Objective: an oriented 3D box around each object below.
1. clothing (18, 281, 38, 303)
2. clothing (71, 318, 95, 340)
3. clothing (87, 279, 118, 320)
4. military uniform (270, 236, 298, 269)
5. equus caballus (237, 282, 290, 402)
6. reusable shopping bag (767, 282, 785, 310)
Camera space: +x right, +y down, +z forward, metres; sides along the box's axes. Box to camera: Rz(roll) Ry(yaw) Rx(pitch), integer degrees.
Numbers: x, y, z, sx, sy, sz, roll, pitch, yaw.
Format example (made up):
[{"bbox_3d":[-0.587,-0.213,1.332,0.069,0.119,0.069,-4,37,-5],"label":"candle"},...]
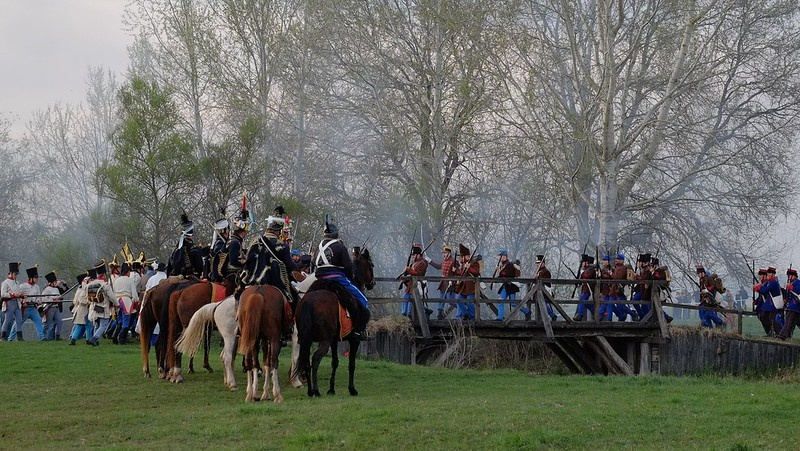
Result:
[{"bbox_3d":[-16.929,3.108,45.662,0.537,0.898,0.943,-6,-7,34],"label":"clothing"},{"bbox_3d":[-14.136,4.655,44.821,1.153,0.833,2.453,9,4,-17],"label":"clothing"},{"bbox_3d":[-13.152,3.376,44.300,1.157,1.678,0.590,-3,12,-17],"label":"clothing"},{"bbox_3d":[-4.258,1.075,37.381,0.916,1.142,0.558,0,5,20],"label":"military uniform"},{"bbox_3d":[-4.925,4.365,36.595,1.581,4.205,2.028,11,15,42],"label":"equus caballus"},{"bbox_3d":[16.863,3.218,45.063,0.775,1.289,0.399,1,12,3],"label":"reusable shopping bag"}]
